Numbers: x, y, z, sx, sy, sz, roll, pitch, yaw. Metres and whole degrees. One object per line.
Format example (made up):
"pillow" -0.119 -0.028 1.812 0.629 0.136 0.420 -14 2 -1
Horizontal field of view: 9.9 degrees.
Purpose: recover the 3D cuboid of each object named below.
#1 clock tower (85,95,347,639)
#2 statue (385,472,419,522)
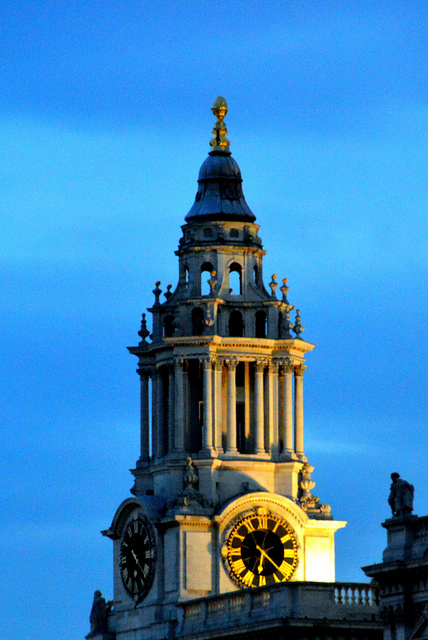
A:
"clock tower" 0.061 1.307 80.475 6.536 18.916 4.735 1 -10 -2
"statue" 4.722 4.618 63.100 0.788 1.297 0.861 -4 -13 21
